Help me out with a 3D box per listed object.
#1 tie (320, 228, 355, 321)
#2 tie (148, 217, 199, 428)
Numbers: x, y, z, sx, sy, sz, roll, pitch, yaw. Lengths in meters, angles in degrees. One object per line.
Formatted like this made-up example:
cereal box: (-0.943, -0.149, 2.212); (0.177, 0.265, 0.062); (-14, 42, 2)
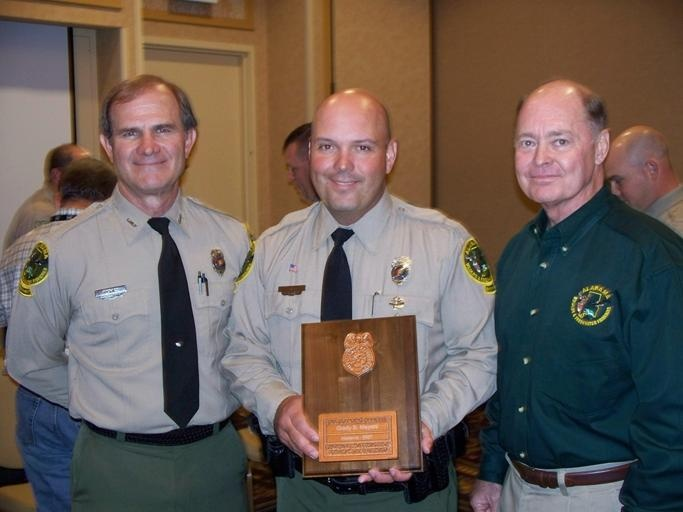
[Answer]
tie: (-0.012, 0.060, 2.310); (0.117, 0.318, 0.113); (-1, 4, 1)
tie: (-0.616, 0.232, 2.397); (0.150, 0.749, 0.215); (-2, 4, -17)
